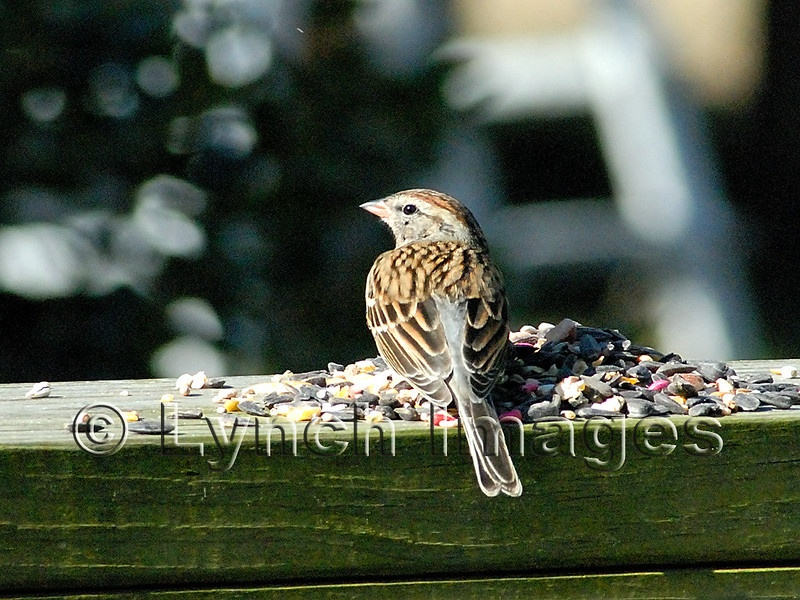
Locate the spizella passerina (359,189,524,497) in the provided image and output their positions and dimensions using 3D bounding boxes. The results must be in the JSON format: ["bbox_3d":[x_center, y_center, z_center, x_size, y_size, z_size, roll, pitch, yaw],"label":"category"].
[{"bbox_3d":[0.198,0.142,5.777,0.603,1.729,0.739,-2,-54,-11],"label":"spizella passerina"}]
